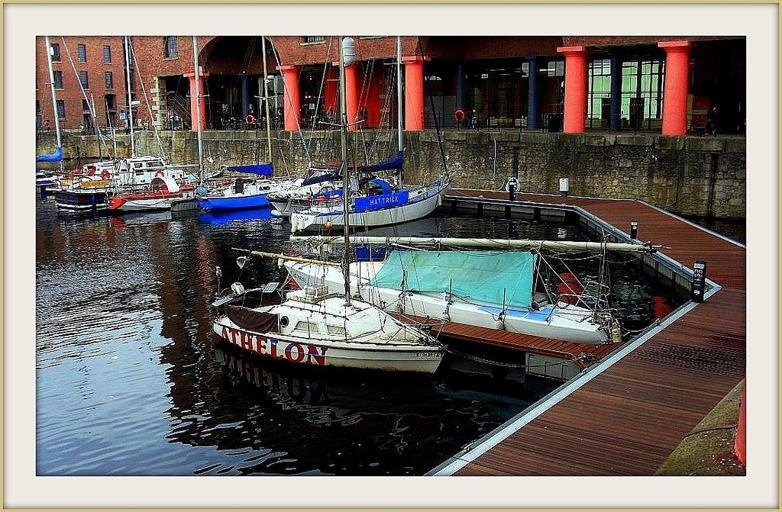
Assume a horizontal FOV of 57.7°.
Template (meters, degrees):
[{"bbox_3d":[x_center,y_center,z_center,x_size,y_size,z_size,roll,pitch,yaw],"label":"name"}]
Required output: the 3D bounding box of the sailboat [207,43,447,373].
[{"bbox_3d":[-2.105,-1.611,20.834,7.985,9.783,2.404,5,13,25],"label":"sailboat"}]

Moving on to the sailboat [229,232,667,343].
[{"bbox_3d":[2.063,1.135,23.288,8.913,2.311,2.216,8,16,25],"label":"sailboat"}]
